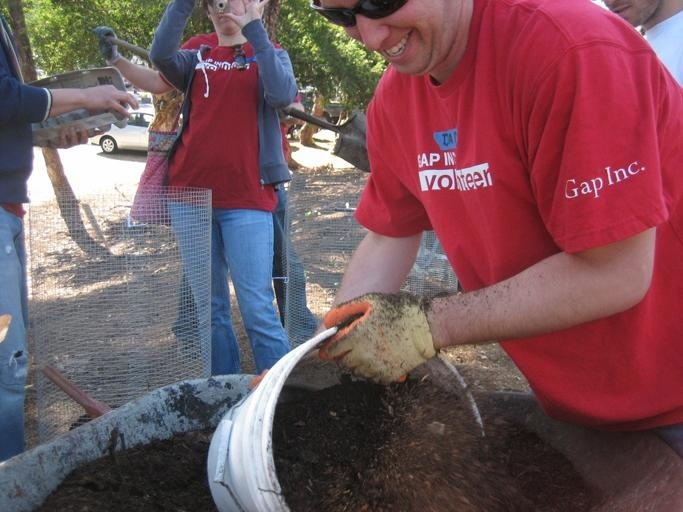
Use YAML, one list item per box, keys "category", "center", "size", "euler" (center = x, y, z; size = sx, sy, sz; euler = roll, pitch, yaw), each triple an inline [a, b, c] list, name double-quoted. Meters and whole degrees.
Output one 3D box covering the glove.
- category: "glove"
  center: [0.129, 0.296, 2.590]
  size: [0.354, 0.339, 0.186]
  euler: [7, 6, 8]
